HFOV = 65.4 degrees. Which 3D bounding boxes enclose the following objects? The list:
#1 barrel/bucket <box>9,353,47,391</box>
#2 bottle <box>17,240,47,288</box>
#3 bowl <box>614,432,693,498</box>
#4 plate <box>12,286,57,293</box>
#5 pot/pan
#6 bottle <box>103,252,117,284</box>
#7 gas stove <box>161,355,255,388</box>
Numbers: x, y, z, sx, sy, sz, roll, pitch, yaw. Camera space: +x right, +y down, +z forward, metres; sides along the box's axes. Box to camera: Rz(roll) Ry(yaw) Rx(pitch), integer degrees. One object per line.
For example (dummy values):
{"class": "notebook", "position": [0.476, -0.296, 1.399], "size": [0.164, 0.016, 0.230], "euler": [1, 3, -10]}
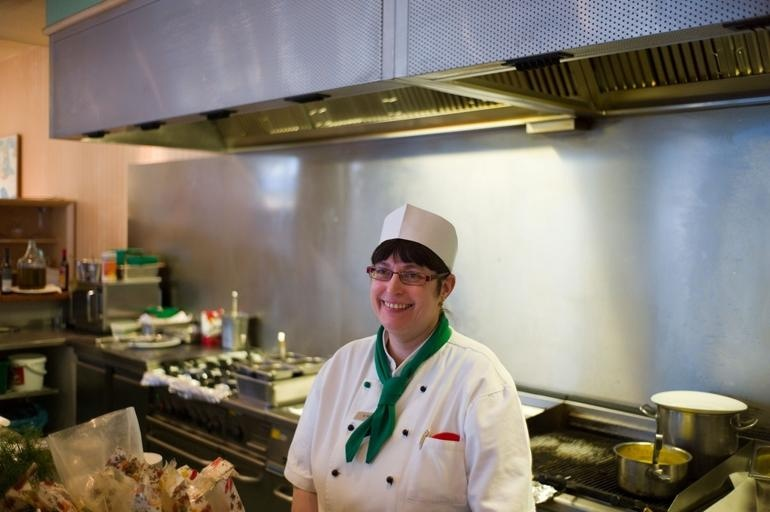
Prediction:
{"class": "barrel/bucket", "position": [-2.551, 0.833, 4.280], "size": [0.270, 0.233, 0.266], "euler": [1, 1, 0]}
{"class": "bottle", "position": [-2.848, 0.073, 4.861], "size": [0.269, 0.395, 0.198], "euler": [1, 2, 28]}
{"class": "bowl", "position": [0.966, 0.760, 2.181], "size": [0.247, 0.177, 0.211], "euler": [1, 2, 34]}
{"class": "plate", "position": [-2.778, 0.269, 4.794], "size": [0.342, 0.047, 0.416], "euler": [-1, 1, -32]}
{"class": "pot/pan", "position": [1.194, 0.700, 2.325], "size": [0.359, 0.218, 0.303], "euler": [1, -12, 34]}
{"class": "bottle", "position": [-2.001, 0.076, 4.366], "size": [0.091, 0.199, 0.121], "euler": [-1, 2, -26]}
{"class": "gas stove", "position": [-1.093, 0.683, 3.549], "size": [0.483, 0.082, 0.557], "euler": [0, 1, -7]}
